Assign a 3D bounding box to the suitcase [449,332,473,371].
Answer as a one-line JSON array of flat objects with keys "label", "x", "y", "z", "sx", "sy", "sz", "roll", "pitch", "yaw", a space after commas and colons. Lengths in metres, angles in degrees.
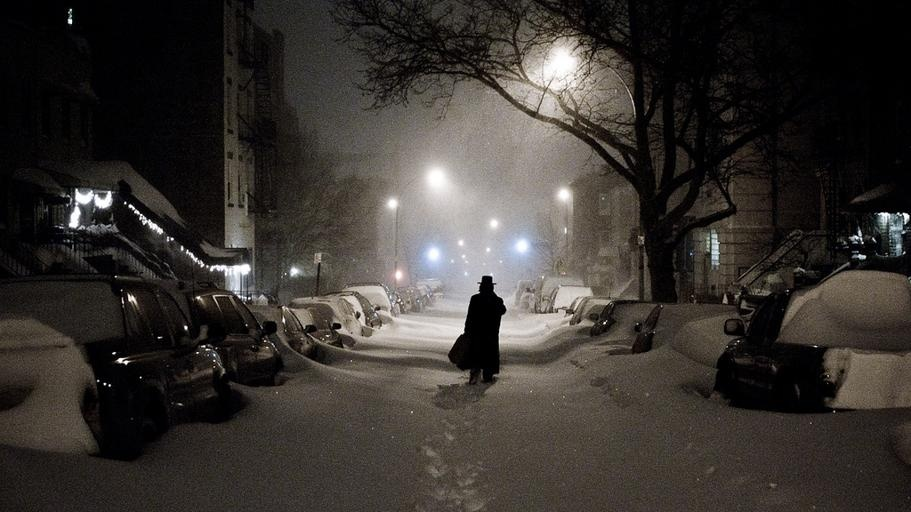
[{"label": "suitcase", "x": 0.126, "y": 2.374, "z": 15.934, "sx": 0.556, "sy": 0.901, "sz": 0.328, "roll": 4, "pitch": 5, "yaw": 17}]
